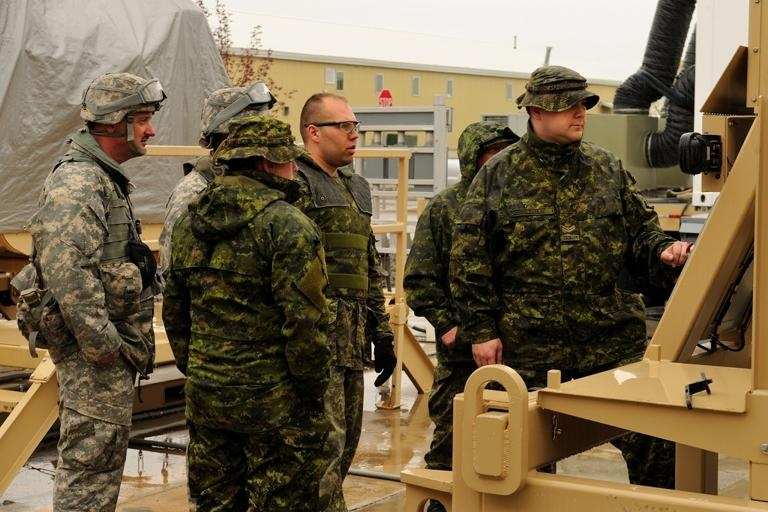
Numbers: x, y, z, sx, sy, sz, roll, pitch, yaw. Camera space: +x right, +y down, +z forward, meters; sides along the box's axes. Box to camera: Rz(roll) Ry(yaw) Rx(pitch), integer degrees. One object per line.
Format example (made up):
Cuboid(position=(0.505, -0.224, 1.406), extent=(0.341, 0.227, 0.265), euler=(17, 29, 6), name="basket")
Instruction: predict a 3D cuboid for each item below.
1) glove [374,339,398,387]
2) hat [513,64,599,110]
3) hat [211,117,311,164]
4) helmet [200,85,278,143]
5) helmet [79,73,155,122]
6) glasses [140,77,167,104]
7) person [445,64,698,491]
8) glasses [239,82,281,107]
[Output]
Cuboid(position=(-0.006, 0.669, 5.430), extent=(0.094, 0.265, 0.218), euler=(-12, 3, -43), name="glove")
Cuboid(position=(0.929, -0.902, 4.773), extent=(0.368, 0.146, 0.289), euler=(2, 10, 22), name="hat")
Cuboid(position=(-0.635, -0.568, 4.291), extent=(0.304, 0.113, 0.318), euler=(-13, 15, -42), name="hat")
Cuboid(position=(-0.898, -0.894, 5.422), extent=(0.472, 0.370, 0.329), euler=(4, 0, 8), name="helmet")
Cuboid(position=(-1.543, -0.940, 5.093), extent=(0.403, 0.191, 0.286), euler=(-8, 12, -9), name="helmet")
Cuboid(position=(-1.414, -0.968, 5.144), extent=(0.176, 0.138, 0.221), euler=(-2, 12, 7), name="glasses")
Cuboid(position=(0.995, -0.161, 4.791), extent=(1.218, 1.738, 0.518), euler=(1, 10, 2), name="person")
Cuboid(position=(-0.808, -0.977, 5.450), extent=(0.170, 0.113, 0.217), euler=(2, -23, -25), name="glasses")
